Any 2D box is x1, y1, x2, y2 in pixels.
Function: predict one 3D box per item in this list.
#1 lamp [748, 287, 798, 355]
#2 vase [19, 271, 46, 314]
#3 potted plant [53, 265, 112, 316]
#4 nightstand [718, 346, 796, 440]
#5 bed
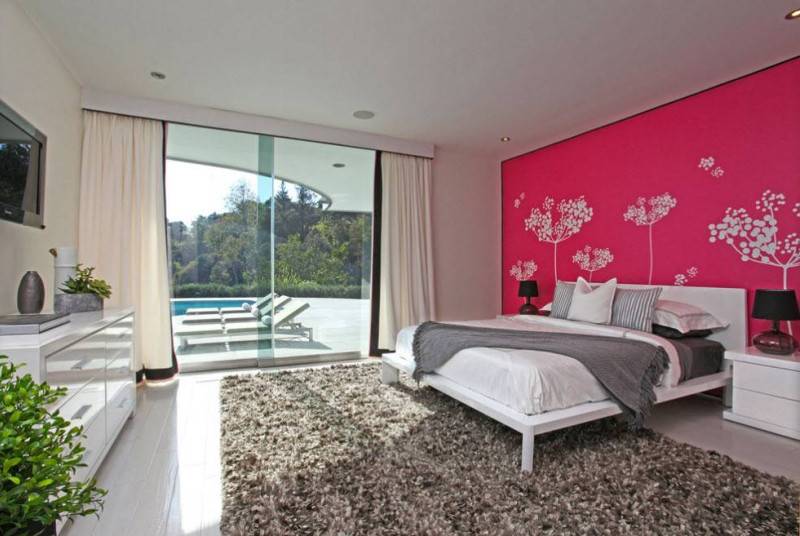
[{"bbox_3d":[3.609,0.511,4.805,0.478,0.636,0.311,-9,16,-31],"label":"lamp"},{"bbox_3d":[-3.096,0.226,4.177,0.196,0.348,0.266,-10,16,-32],"label":"vase"},{"bbox_3d":[-2.919,0.217,4.607,0.377,0.417,0.479,-1,-4,26],"label":"potted plant"},{"bbox_3d":[3.431,1.127,4.934,0.665,0.795,0.846,0,1,-33],"label":"nightstand"},{"bbox_3d":[1.666,1.035,4.841,2.189,0.967,2.040,2,-3,-28],"label":"bed"}]
